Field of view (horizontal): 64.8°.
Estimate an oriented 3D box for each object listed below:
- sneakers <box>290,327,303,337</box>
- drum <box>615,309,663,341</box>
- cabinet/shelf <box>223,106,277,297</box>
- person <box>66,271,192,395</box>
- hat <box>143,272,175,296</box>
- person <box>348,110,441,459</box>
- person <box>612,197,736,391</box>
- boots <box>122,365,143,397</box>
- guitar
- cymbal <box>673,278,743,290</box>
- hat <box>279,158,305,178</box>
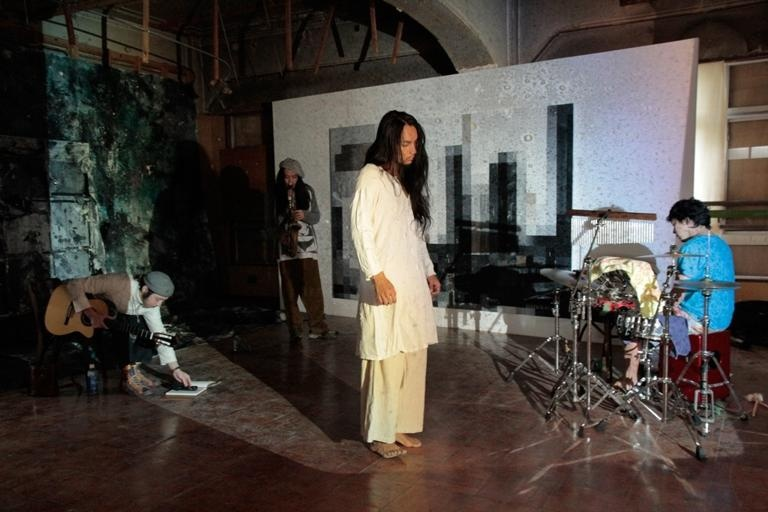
[{"bbox_3d":[-1.113,0.951,7.659,0.131,0.097,0.132,5,6,38],"label":"sneakers"},{"bbox_3d":[2.220,0.598,5.260,0.370,0.272,0.346,0,4,0],"label":"drum"},{"bbox_3d":[-2.328,-0.927,10.391,1.184,3.253,0.404,3,5,31],"label":"cabinet/shelf"},{"bbox_3d":[-2.518,0.746,6.033,1.237,1.195,0.321,1,4,9],"label":"person"},{"bbox_3d":[-2.192,0.216,5.865,0.217,0.111,0.282,11,28,-52],"label":"hat"},{"bbox_3d":[0.090,0.238,4.781,0.712,2.750,0.378,-2,5,-27],"label":"person"},{"bbox_3d":[2.648,0.358,5.386,0.927,1.754,0.633,2,4,18],"label":"person"},{"bbox_3d":[-2.481,1.218,5.996,0.198,0.282,0.128,3,5,31],"label":"boots"},{"bbox_3d":[-2.872,0.651,6.057,1.439,0.584,0.205,19,4,-6],"label":"guitar"},{"bbox_3d":[2.606,0.229,4.935,0.415,0.096,0.379,0,3,-5],"label":"cymbal"},{"bbox_3d":[-1.138,-1.103,7.492,0.175,0.219,0.312,3,5,36],"label":"hat"}]
